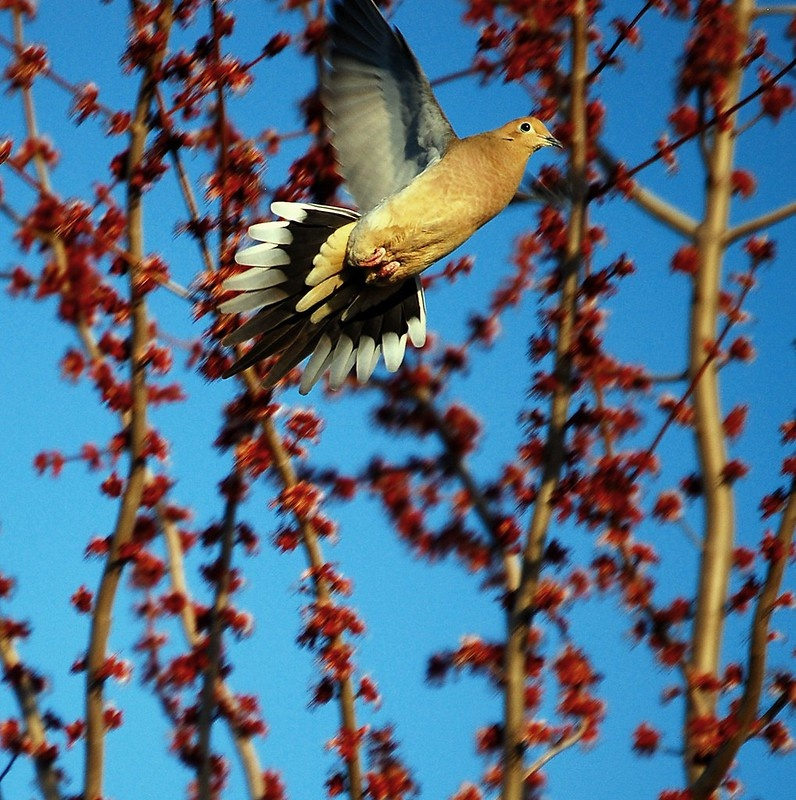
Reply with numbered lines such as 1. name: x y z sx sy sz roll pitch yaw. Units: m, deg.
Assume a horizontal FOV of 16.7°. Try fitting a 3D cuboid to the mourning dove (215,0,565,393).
1. mourning dove: -0.078 -0.745 10.895 0.992 0.911 1.401 23 -61 -13
